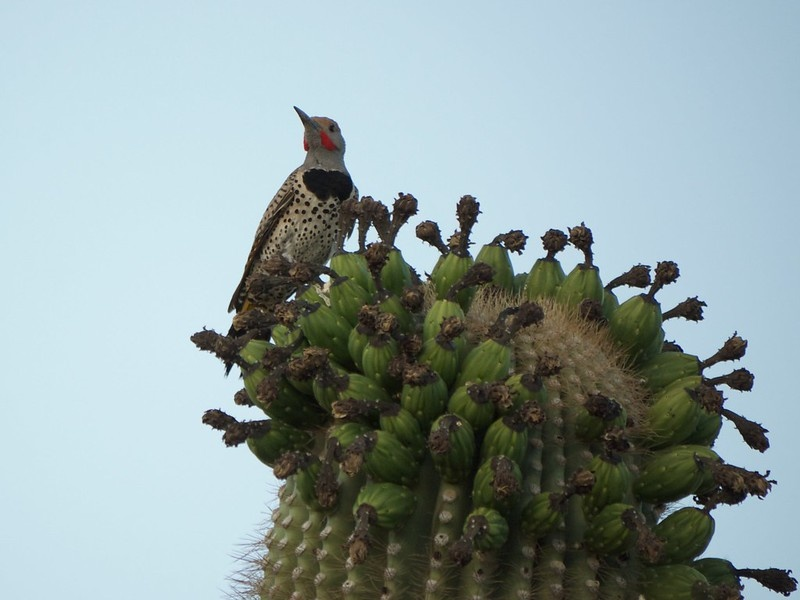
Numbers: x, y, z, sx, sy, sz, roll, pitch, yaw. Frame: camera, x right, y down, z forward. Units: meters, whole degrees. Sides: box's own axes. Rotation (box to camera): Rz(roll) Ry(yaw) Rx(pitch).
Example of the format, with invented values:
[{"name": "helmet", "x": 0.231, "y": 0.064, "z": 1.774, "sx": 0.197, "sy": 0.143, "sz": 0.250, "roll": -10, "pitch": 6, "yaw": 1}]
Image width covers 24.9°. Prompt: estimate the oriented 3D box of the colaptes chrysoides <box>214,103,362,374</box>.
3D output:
[{"name": "colaptes chrysoides", "x": -0.494, "y": -0.125, "z": 8.919, "sx": 0.475, "sy": 1.210, "sz": 1.165, "roll": 17, "pitch": -60, "yaw": -24}]
